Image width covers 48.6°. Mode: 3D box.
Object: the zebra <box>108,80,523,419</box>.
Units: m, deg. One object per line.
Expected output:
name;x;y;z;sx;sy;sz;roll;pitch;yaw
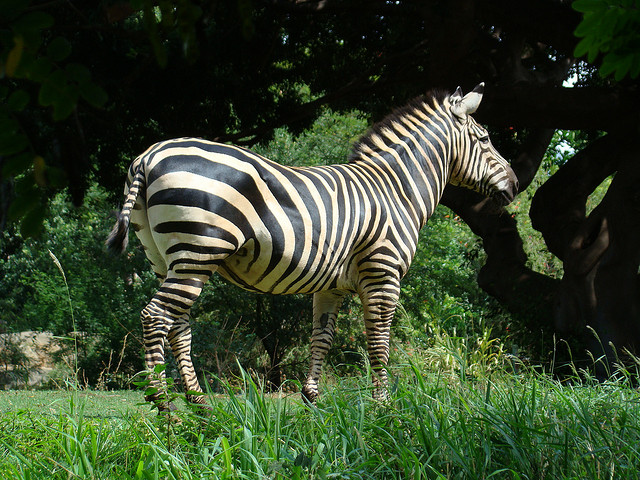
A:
zebra;0.115;0.020;6.861;3.920;3.414;1.085;3;0;-22
